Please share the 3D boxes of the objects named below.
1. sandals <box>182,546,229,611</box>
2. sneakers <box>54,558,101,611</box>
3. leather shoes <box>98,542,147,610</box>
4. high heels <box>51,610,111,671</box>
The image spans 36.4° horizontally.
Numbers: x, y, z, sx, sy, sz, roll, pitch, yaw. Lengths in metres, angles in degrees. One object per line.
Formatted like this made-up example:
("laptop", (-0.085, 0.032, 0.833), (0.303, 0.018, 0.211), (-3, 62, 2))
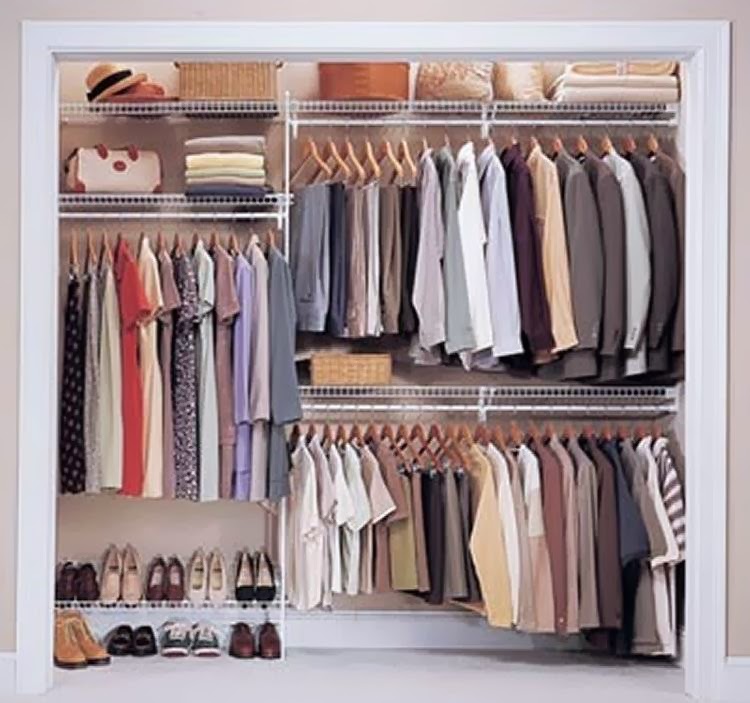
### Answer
("sandals", (-0.721, 0.980, 4.891), (0.133, 0.254, 0.071), (1, -21, -5))
("sneakers", (-1.263, 0.991, 4.824), (0.167, 0.267, 0.099), (1, -48, -15))
("leather shoes", (-1.090, 0.955, 4.872), (0.126, 0.289, 0.098), (0, -35, -8))
("high heels", (-1.169, 1.131, 4.482), (0.107, 0.161, 0.334), (3, -8, -33))
